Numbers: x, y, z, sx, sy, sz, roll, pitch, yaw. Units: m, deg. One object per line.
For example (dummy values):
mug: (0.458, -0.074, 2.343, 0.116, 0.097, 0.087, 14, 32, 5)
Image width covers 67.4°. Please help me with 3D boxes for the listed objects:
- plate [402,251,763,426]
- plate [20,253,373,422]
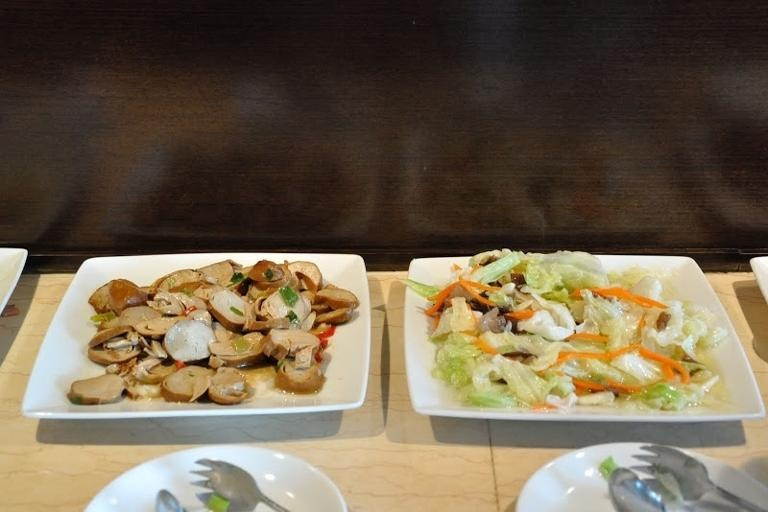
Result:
plate: (0.473, 0.184, 1.503, 0.838, 0.222, 0.533, 3, 57, -1)
plate: (-0.441, 0.234, 1.341, 0.712, 0.081, 0.437, -1, 41, 1)
